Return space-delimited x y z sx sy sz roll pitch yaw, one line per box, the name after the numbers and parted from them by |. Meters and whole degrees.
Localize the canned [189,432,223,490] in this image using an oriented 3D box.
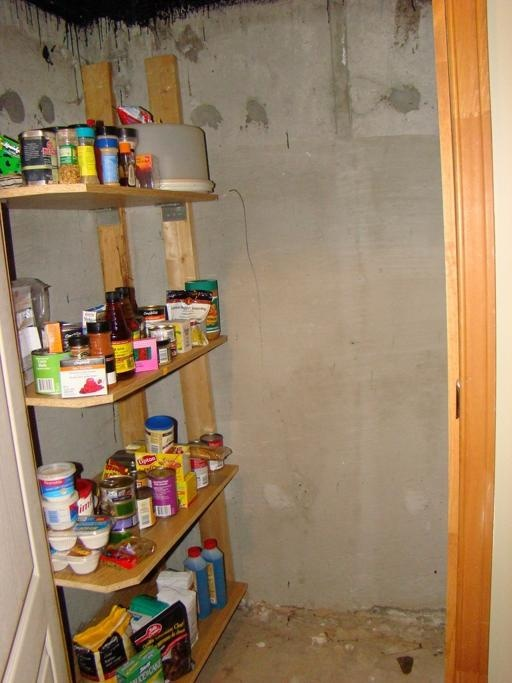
-0.142 0.380 1.971 0.129 0.144 0.130 1 8 0 | canned

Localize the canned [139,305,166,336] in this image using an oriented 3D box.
-0.282 -0.057 1.705 0.077 0.083 0.075 -2 7 -29 | canned

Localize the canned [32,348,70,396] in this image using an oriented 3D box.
-0.438 0.071 1.386 0.086 0.096 0.087 0 4 -1 | canned

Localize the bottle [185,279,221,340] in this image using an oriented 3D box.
-0.164 -0.098 1.923 0.096 0.184 0.153 -8 11 -6 | bottle

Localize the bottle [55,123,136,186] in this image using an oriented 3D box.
-0.363 -0.412 1.378 0.073 0.113 0.183 2 17 10 | bottle

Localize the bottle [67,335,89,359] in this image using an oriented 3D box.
-0.381 0.011 1.331 0.045 0.048 0.046 10 16 29 | bottle

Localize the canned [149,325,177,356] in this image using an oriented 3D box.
-0.245 -0.005 1.635 0.073 0.082 0.072 -1 9 -4 | canned

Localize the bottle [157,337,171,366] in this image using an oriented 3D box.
-0.240 0.026 1.602 0.015 0.065 0.056 -4 11 17 | bottle

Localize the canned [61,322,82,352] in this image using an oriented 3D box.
-0.410 -0.007 1.373 0.046 0.051 0.047 9 21 13 | canned

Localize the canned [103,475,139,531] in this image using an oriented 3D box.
-0.361 0.431 1.626 0.094 0.144 0.074 -10 11 -15 | canned
